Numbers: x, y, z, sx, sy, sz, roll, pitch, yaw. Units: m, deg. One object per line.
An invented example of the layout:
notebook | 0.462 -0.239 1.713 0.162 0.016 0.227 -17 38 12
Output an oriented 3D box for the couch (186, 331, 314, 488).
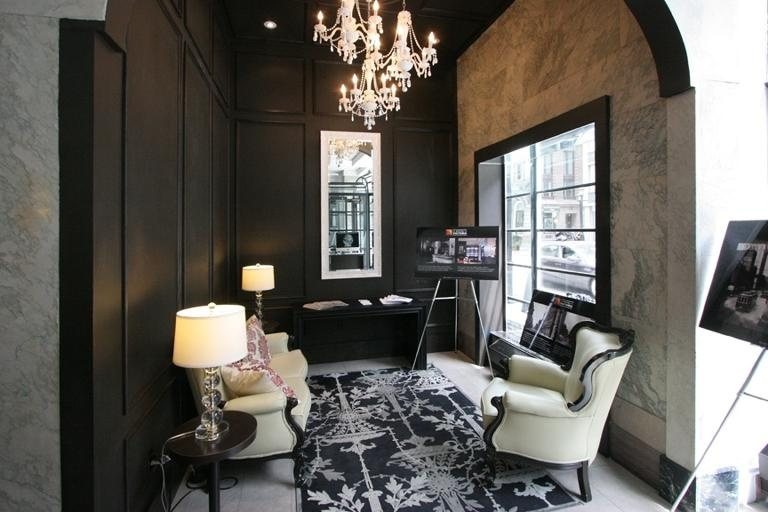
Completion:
couch | -1.141 1.103 5.028 0.852 0.978 1.482 -3 7 -11

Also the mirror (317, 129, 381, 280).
mirror | -0.428 -0.661 7.131 0.839 1.876 0.536 -4 15 -6

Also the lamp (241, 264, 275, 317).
lamp | -1.464 0.417 6.463 0.333 0.728 0.622 -4 15 -9

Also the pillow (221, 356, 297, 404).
pillow | -1.099 1.064 4.738 0.435 0.130 0.376 -1 49 -44
